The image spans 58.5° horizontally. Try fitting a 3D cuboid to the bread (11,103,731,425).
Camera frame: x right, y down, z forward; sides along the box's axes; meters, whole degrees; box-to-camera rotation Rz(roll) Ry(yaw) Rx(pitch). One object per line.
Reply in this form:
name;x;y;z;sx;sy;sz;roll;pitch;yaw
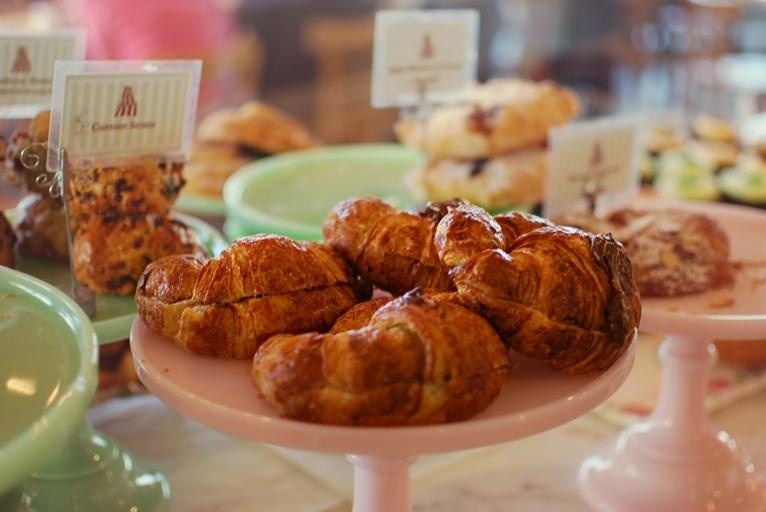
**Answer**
bread;0.207;0.051;1.179;1.053;0.151;0.639;-10;19;-26
